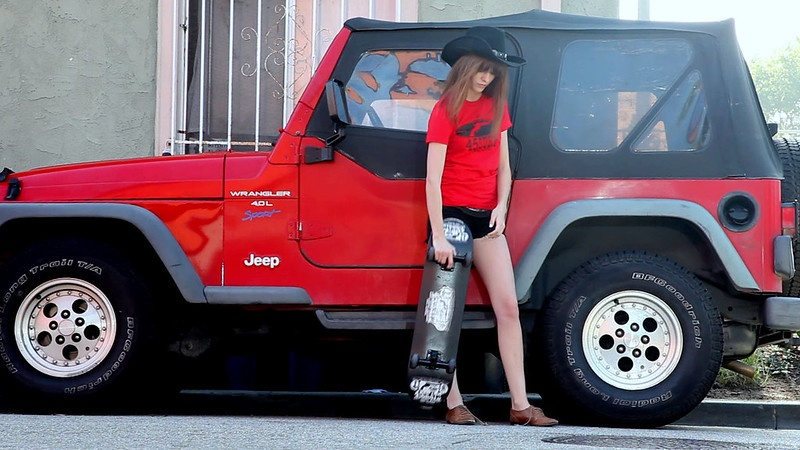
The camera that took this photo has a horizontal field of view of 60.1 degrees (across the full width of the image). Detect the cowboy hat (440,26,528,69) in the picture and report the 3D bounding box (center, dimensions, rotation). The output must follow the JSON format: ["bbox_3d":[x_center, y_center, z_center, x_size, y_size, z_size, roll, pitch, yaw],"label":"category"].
[{"bbox_3d":[0.724,-1.559,6.106,0.747,0.295,0.622,7,-1,5],"label":"cowboy hat"}]

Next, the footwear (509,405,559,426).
[{"bbox_3d":[1.156,1.676,6.129,0.463,0.178,0.165,-1,-5,1],"label":"footwear"}]

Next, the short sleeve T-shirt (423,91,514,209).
[{"bbox_3d":[0.597,-0.625,5.955,1.005,1.129,0.447,-3,7,-20],"label":"short sleeve T-shirt"}]

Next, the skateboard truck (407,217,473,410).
[{"bbox_3d":[0.332,0.787,6.032,0.463,1.762,0.267,15,-9,-10],"label":"skateboard truck"}]

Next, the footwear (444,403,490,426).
[{"bbox_3d":[0.596,1.688,6.174,0.331,0.136,0.168,-1,-4,21],"label":"footwear"}]

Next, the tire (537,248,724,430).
[{"bbox_3d":[2.083,1.002,6.239,1.667,1.622,0.581,-2,-3,0],"label":"tire"}]
